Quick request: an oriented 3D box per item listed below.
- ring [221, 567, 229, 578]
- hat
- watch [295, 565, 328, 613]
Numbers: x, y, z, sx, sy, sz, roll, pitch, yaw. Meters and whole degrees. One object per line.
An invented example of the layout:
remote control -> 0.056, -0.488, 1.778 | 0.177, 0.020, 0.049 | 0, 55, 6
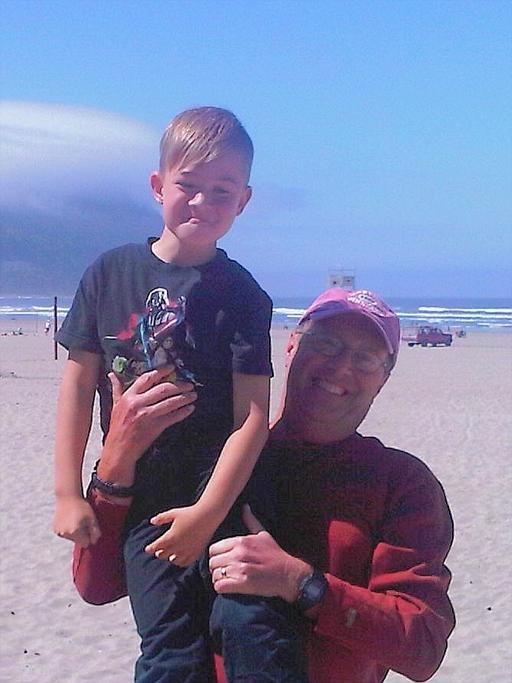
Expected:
ring -> -0.094, 0.668, 1.935 | 0.020, 0.027, 0.026 | 0, -2, 4
hat -> 0.332, -0.034, 2.350 | 0.279, 0.204, 0.353 | 21, -30, 13
watch -> 0.158, 0.714, 1.921 | 0.072, 0.101, 0.115 | 49, 17, 19
